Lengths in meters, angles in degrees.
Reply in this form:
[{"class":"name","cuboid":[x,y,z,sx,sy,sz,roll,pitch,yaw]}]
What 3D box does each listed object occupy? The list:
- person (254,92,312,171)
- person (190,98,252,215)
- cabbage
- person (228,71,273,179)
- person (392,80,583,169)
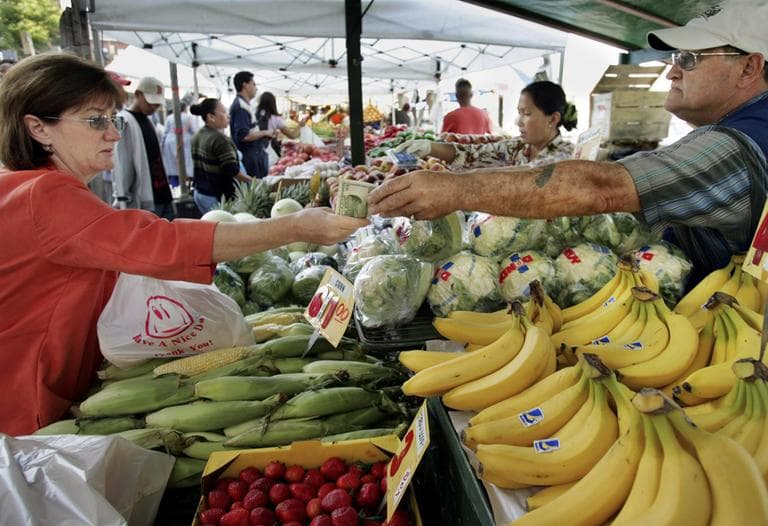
[{"class":"person","cuboid":[-1.937,-2.385,9.232,0.885,1.740,0.838,-9,22,-42]},{"class":"person","cuboid":[-2.080,-1.314,6.739,0.730,1.761,0.593,3,8,16]},{"class":"cabbage","cuboid":[-0.777,0.127,3.660,0.690,0.299,0.411,-3,-9,-36]},{"class":"person","cuboid":[-1.953,-1.955,7.712,0.603,1.761,0.559,0,15,-15]},{"class":"person","cuboid":[1.123,-1.180,4.993,1.883,0.711,1.108,-6,17,9]}]
